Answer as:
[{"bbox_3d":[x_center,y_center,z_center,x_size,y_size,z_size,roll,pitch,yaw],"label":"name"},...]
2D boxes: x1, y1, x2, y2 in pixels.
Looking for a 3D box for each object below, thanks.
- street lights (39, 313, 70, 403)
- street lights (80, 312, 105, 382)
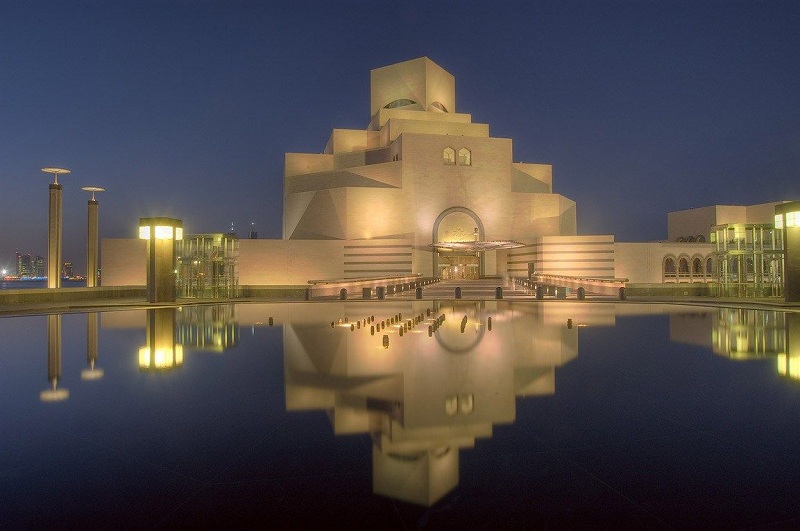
[{"bbox_3d":[-8.123,2.013,13.615,0.423,0.811,9.558,-6,10,-31],"label":"street lights"},{"bbox_3d":[-7.938,1.726,14.926,0.379,1.522,0.372,-1,3,-44],"label":"street lights"}]
